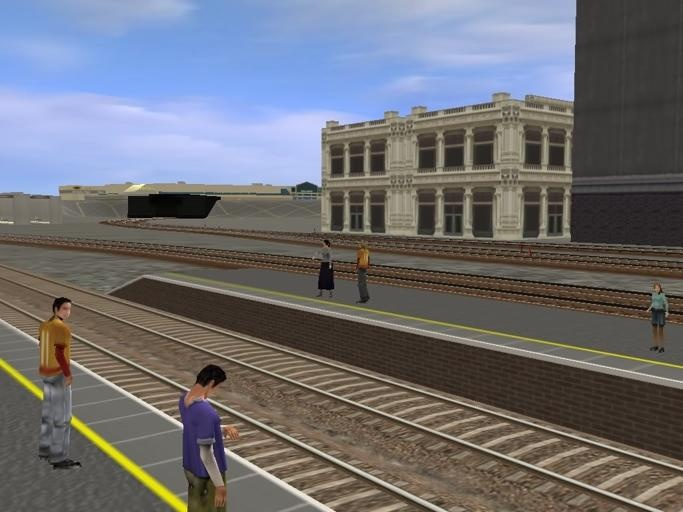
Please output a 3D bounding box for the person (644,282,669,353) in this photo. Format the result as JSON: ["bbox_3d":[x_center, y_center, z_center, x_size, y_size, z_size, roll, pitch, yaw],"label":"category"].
[{"bbox_3d":[7.344,1.381,11.331,0.344,1.506,1.181,3,6,32],"label":"person"}]

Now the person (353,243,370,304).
[{"bbox_3d":[0.742,0.672,16.673,0.364,1.921,0.535,-1,6,-1],"label":"person"}]

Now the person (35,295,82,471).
[{"bbox_3d":[-3.593,1.608,6.192,0.412,2.173,0.535,-6,8,-38],"label":"person"}]
